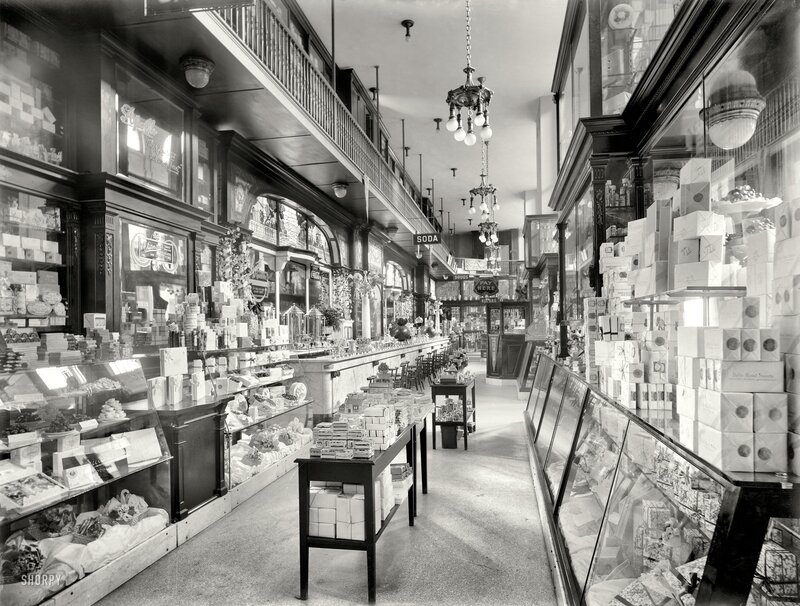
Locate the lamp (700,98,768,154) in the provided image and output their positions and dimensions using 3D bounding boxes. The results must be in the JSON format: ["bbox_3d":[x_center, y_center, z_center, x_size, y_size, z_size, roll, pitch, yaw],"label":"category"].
[{"bbox_3d":[2.251,-1.182,4.714,0.349,0.308,0.372,-11,17,-14],"label":"lamp"}]

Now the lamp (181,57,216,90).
[{"bbox_3d":[-2.043,-2.288,7.143,0.257,0.254,0.281,-1,0,-2],"label":"lamp"}]

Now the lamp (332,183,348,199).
[{"bbox_3d":[-1.017,-1.863,11.785,0.219,0.194,0.240,0,-8,-3],"label":"lamp"}]
